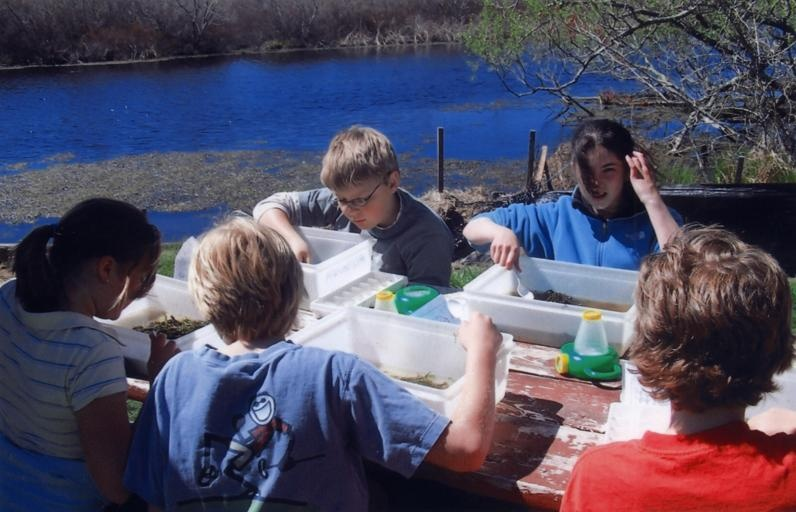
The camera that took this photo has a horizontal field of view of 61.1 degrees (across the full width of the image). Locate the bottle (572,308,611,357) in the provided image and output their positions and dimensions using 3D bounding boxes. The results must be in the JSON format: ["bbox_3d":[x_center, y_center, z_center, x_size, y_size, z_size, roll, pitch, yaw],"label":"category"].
[{"bbox_3d":[0.902,0.354,3.194,0.185,0.208,0.187,0,11,7],"label":"bottle"}]

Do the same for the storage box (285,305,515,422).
[{"bbox_3d":[-0.005,0.459,3.145,0.677,0.212,0.556,9,21,27],"label":"storage box"}]

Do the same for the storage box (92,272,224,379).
[{"bbox_3d":[-1.357,0.324,3.613,0.748,0.225,0.521,10,38,8],"label":"storage box"}]

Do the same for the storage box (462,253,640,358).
[{"bbox_3d":[0.777,0.238,3.509,0.630,0.189,0.550,7,18,23],"label":"storage box"}]

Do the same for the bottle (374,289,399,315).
[{"bbox_3d":[-0.070,0.240,3.494,0.107,0.103,0.108,-1,5,1],"label":"bottle"}]

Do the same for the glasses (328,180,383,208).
[{"bbox_3d":[-0.227,-0.356,4.015,0.274,0.145,0.059,-3,16,1],"label":"glasses"}]

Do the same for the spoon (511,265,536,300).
[{"bbox_3d":[0.687,0.165,3.735,0.055,0.048,0.267,-20,42,2],"label":"spoon"}]

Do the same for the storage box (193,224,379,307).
[{"bbox_3d":[-0.431,0.029,4.105,0.603,0.186,0.612,12,21,41],"label":"storage box"}]
